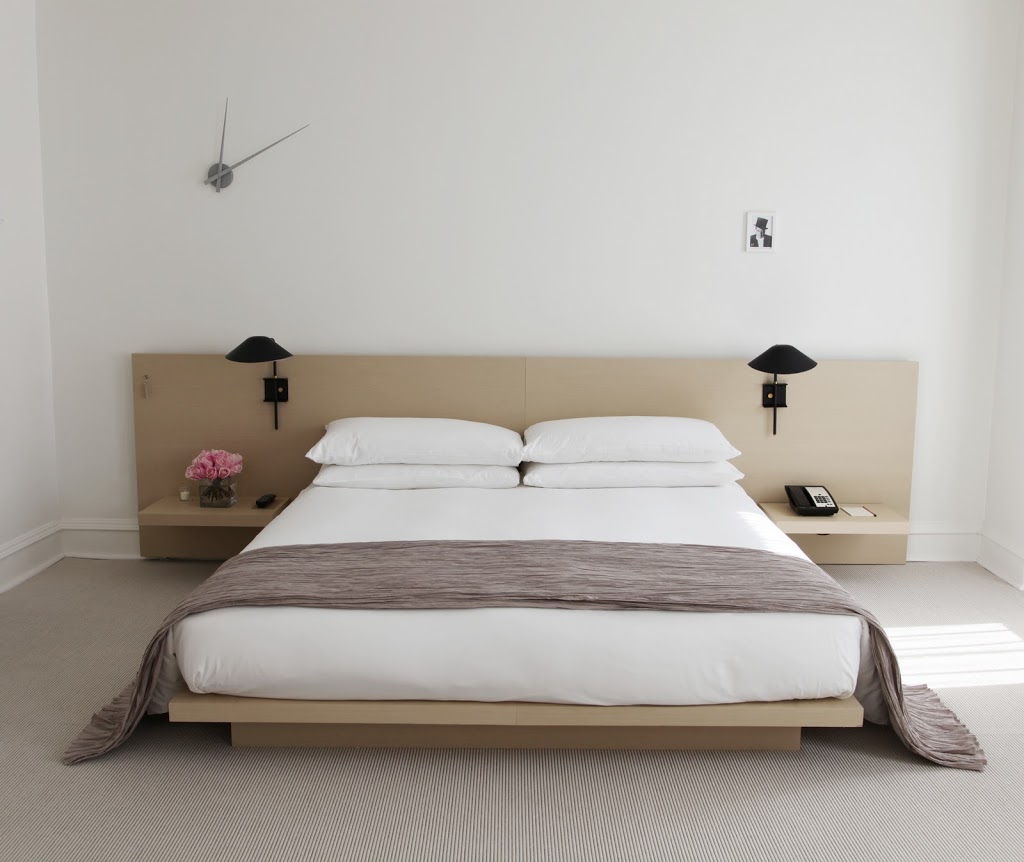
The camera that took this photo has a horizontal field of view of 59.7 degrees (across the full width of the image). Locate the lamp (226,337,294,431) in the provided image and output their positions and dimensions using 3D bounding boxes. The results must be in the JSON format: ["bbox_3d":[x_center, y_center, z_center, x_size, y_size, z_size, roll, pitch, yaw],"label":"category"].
[{"bbox_3d":[-1.281,-0.247,4.649,0.291,0.501,0.372,1,11,0],"label":"lamp"}]

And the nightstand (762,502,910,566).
[{"bbox_3d":[1.576,0.568,4.663,0.408,0.371,0.843,-10,3,-44],"label":"nightstand"}]

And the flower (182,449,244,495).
[{"bbox_3d":[-1.537,0.206,4.619,0.288,0.206,0.263,1,0,-30],"label":"flower"}]

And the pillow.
[{"bbox_3d":[0.058,0.095,4.369,2.083,0.313,0.379,1,10,0],"label":"pillow"}]

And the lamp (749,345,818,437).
[{"bbox_3d":[1.370,-0.216,4.604,0.356,0.405,0.352,2,3,30],"label":"lamp"}]

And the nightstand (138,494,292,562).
[{"bbox_3d":[-1.650,0.525,4.665,0.737,0.258,0.391,0,5,1],"label":"nightstand"}]
